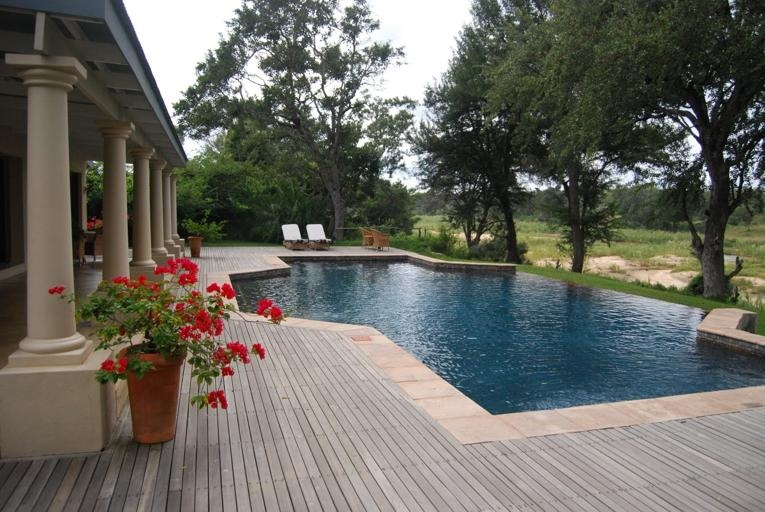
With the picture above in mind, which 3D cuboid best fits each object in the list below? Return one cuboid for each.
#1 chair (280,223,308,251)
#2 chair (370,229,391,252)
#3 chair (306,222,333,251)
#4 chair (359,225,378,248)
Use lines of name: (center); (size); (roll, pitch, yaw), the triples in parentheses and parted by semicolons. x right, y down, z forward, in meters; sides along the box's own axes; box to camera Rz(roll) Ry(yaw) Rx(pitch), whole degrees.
chair: (-3.720, -0.809, 21.074); (0.783, 1.003, 1.408); (-1, 5, -21)
chair: (-0.068, -0.719, 21.725); (0.857, 1.138, 0.999); (-2, 4, -6)
chair: (-2.758, -0.824, 21.099); (0.912, 0.964, 1.380); (1, 8, -11)
chair: (-0.636, -0.863, 22.068); (0.914, 1.160, 1.003); (-1, 3, 14)
